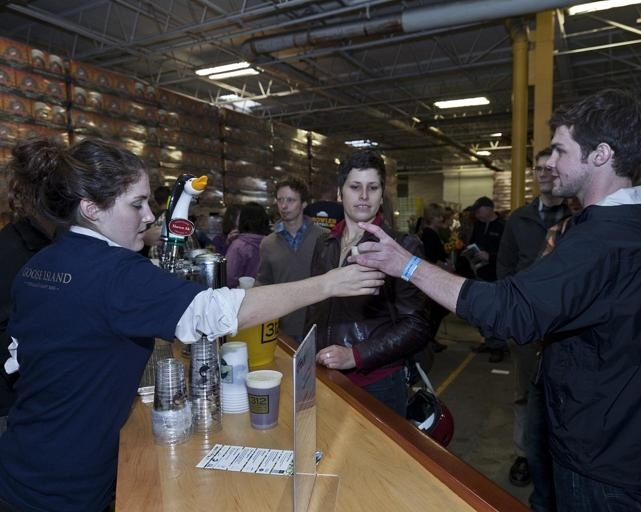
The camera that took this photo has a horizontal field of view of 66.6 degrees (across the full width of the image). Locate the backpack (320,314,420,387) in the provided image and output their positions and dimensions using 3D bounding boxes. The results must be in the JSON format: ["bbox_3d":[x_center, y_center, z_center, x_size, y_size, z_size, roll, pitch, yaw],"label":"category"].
[{"bbox_3d":[0.210,0.414,2.378,0.547,0.300,0.557,0,1,-10],"label":"backpack"}]

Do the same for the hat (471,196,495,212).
[{"bbox_3d":[2.137,-0.687,6.369,0.371,0.216,0.246,4,10,20],"label":"hat"}]

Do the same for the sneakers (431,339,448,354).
[{"bbox_3d":[1.587,1.225,6.511,0.167,0.205,0.509,-9,-15,10],"label":"sneakers"}]

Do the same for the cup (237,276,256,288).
[{"bbox_3d":[-0.372,0.134,2.361,0.071,0.049,0.069,1,-6,0],"label":"cup"}]
